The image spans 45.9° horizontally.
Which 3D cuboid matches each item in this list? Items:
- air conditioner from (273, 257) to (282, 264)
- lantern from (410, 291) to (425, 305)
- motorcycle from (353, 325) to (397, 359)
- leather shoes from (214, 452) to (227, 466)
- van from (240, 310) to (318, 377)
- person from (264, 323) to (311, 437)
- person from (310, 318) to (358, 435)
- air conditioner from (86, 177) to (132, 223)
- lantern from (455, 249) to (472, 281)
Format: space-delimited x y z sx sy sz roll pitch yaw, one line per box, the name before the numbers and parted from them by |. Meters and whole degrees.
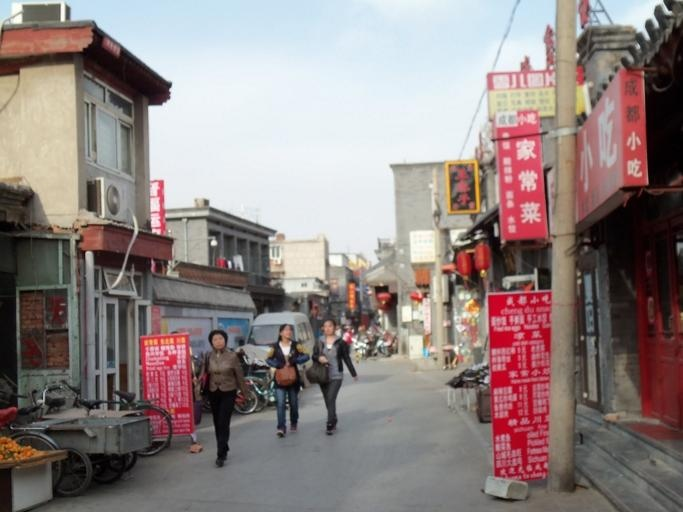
air conditioner | -5.549 0.370 70.779 0.639 0.643 0.244 -2 0 -14
lantern | 3.824 2.089 40.296 0.519 0.624 0.572 0 5 2
motorcycle | 1.674 4.573 42.671 1.205 1.478 2.427 -3 -9 13
leather shoes | -1.974 3.317 13.221 0.130 0.203 0.439 -1 -13 3
van | -2.143 2.349 23.141 1.172 1.468 3.124 -1 -4 4
person | -1.033 2.393 15.942 0.800 2.156 0.807 0 0 -11
person | -0.164 2.331 16.087 0.900 2.215 1.241 -2 0 -18
air conditioner | -5.133 -1.204 17.886 0.363 0.885 1.280 -4 -2 10
lantern | 4.036 0.216 26.391 0.454 0.825 1.165 -2 0 7
